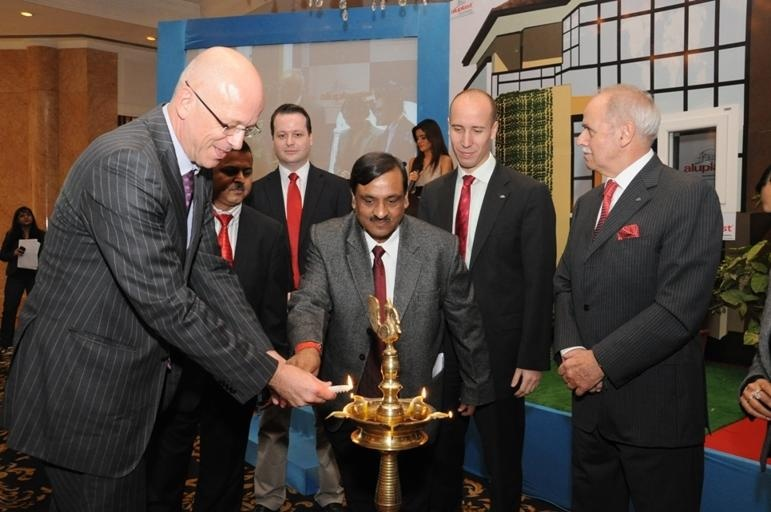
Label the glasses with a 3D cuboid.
[{"bbox_3d":[-0.659,-0.605,2.269,0.059,0.225,0.214,-33,0,-2],"label":"glasses"}]

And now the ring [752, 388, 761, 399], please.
[{"bbox_3d":[1.574,0.589,2.389,0.043,0.044,0.013,-5,-6,43],"label":"ring"}]

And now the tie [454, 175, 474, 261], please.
[{"bbox_3d":[0.433,-0.239,3.150,0.091,0.569,0.061,3,-9,5],"label":"tie"}]

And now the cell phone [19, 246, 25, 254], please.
[{"bbox_3d":[-5.014,-0.084,7.733,0.077,0.076,0.090,4,-7,-25],"label":"cell phone"}]
